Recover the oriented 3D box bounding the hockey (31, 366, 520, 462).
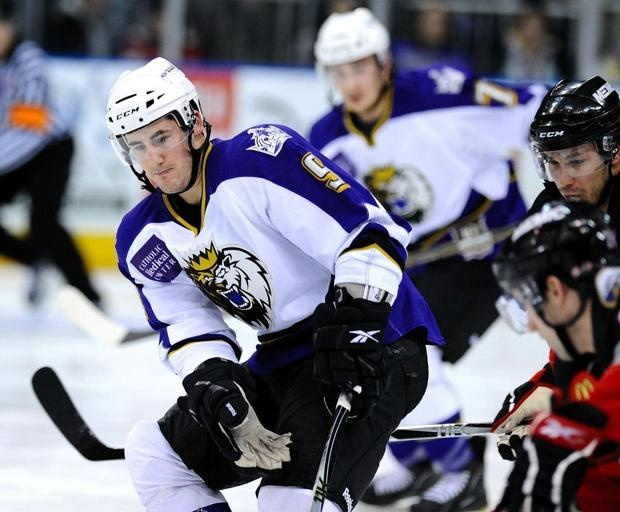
[{"bbox_3d":[-0.110,0.435,2.752,1.349,0.296,0.147,-5,-6,9],"label":"hockey"}]

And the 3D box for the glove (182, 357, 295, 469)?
[{"bbox_3d":[-0.189,0.427,2.571,0.197,0.317,0.114,-35,-3,-5],"label":"glove"}]

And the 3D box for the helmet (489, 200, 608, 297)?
[{"bbox_3d":[0.529,-0.016,2.190,0.222,0.222,0.181,-11,-5,8],"label":"helmet"}]
